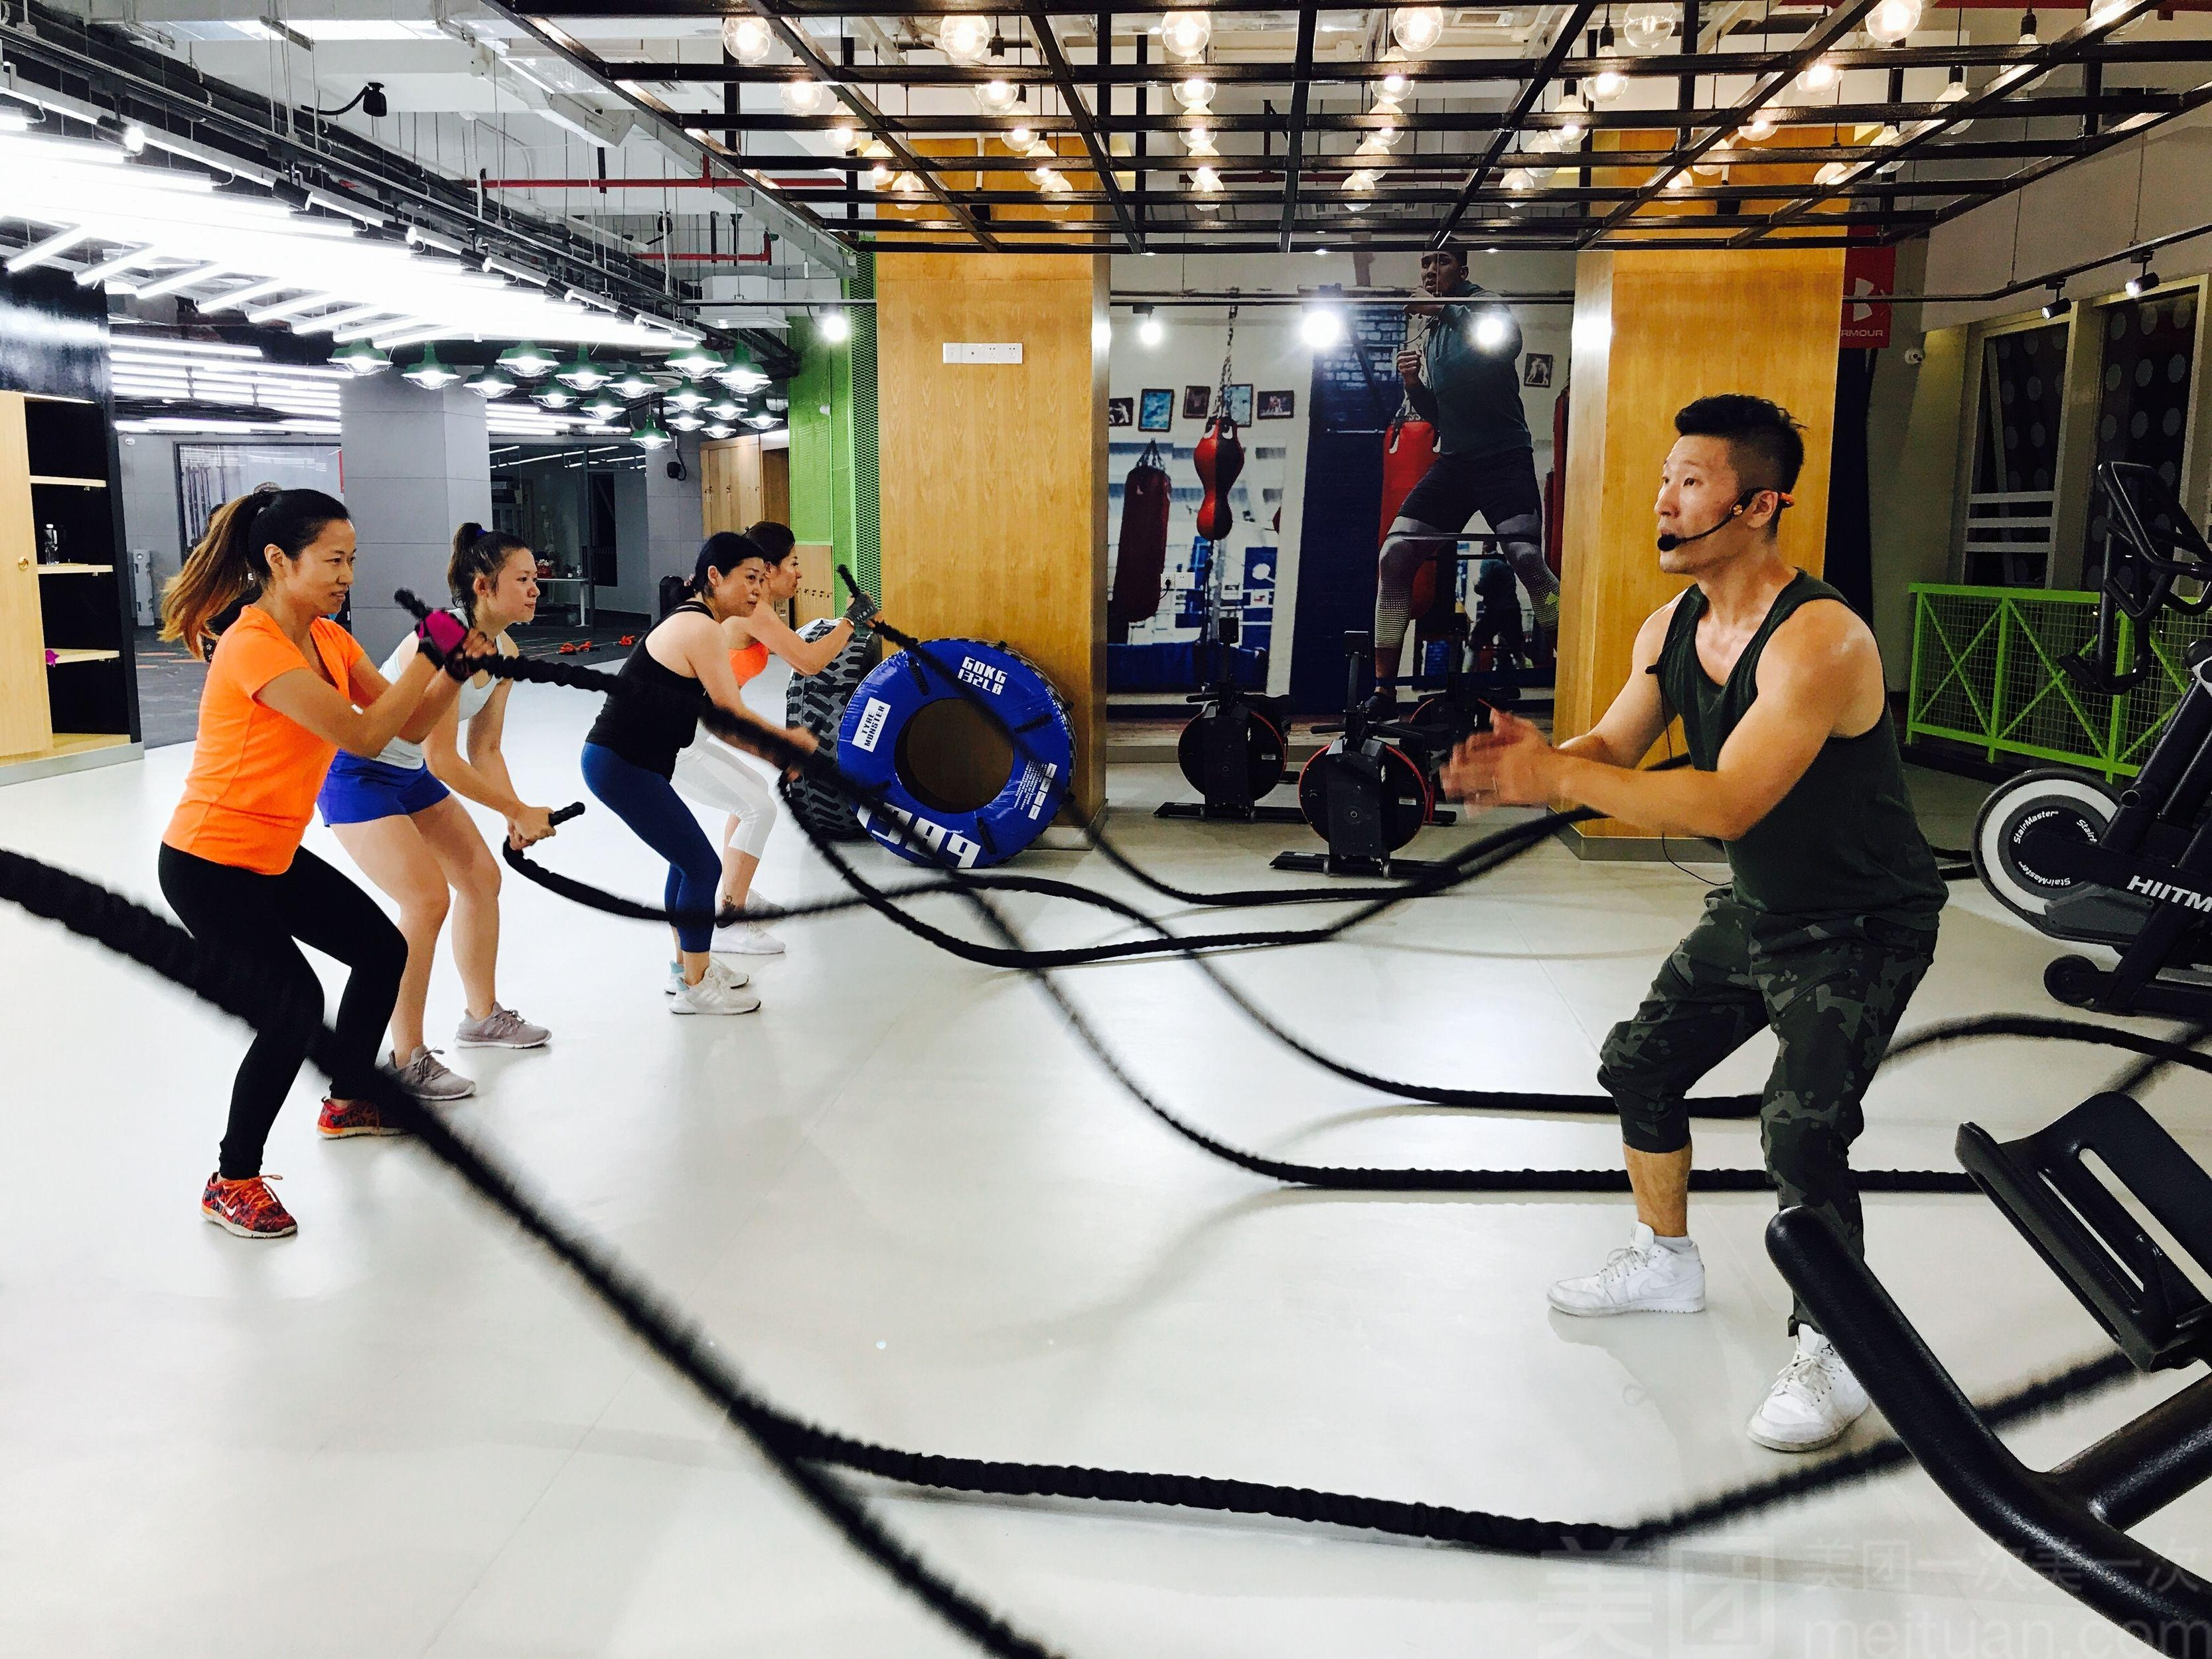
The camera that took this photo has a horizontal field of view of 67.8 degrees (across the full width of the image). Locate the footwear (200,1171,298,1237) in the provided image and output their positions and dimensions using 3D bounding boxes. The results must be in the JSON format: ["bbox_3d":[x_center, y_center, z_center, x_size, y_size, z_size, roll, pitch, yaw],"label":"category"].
[{"bbox_3d":[-2.083,0.922,4.039,0.232,0.105,0.127,11,5,8],"label":"footwear"}]

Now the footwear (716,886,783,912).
[{"bbox_3d":[-1.467,0.289,6.739,0.292,0.125,0.091,-6,17,-17],"label":"footwear"}]

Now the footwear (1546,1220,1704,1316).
[{"bbox_3d":[1.202,1.010,3.842,0.419,0.242,0.155,1,0,8],"label":"footwear"}]

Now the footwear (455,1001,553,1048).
[{"bbox_3d":[-1.950,0.640,5.389,0.315,0.153,0.132,1,5,-11],"label":"footwear"}]

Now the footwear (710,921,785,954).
[{"bbox_3d":[-1.436,0.442,6.587,0.285,0.118,0.136,1,6,-4],"label":"footwear"}]

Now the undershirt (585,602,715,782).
[{"bbox_3d":[-1.444,-0.421,5.538,0.320,0.434,0.226,22,8,-25],"label":"undershirt"}]

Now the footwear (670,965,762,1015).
[{"bbox_3d":[-1.362,0.551,5.744,0.372,0.173,0.138,0,7,-14],"label":"footwear"}]

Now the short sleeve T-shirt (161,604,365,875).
[{"bbox_3d":[-2.041,-0.197,3.896,0.382,0.645,0.217,-4,15,-17],"label":"short sleeve T-shirt"}]

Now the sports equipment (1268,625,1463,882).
[{"bbox_3d":[1.406,-0.389,8.339,1.054,1.305,1.085,2,9,16],"label":"sports equipment"}]
